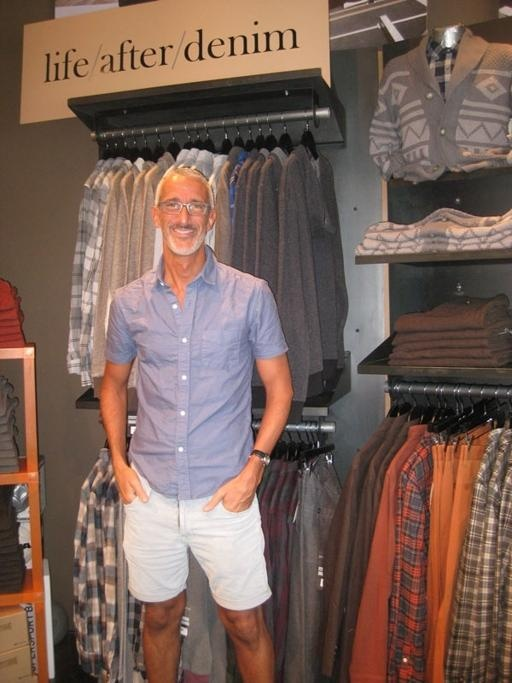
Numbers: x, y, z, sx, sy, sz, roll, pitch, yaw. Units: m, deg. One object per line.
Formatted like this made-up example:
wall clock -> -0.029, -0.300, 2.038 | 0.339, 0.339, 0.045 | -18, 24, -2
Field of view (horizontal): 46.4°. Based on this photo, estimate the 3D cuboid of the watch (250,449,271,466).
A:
watch -> 0.010, 0.310, 1.605 | 0.051, 0.035, 0.054 | 28, -17, 3

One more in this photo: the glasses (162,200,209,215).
glasses -> -0.190, -0.348, 1.584 | 0.123, 0.042, 0.037 | -3, -3, -11
